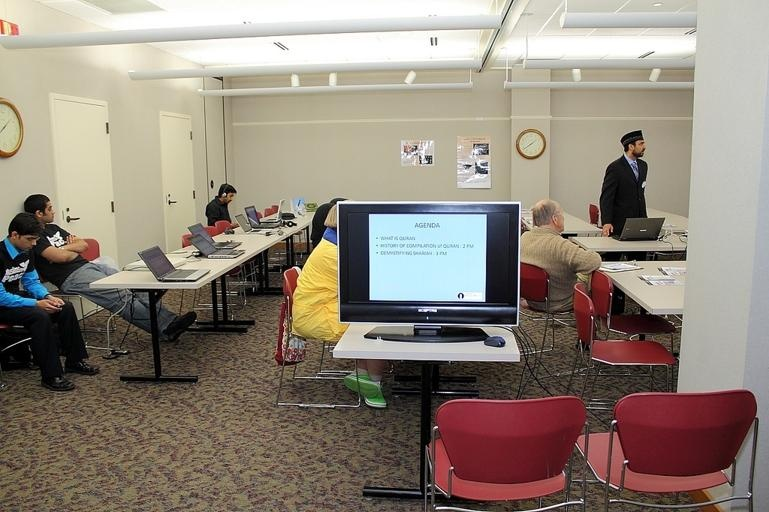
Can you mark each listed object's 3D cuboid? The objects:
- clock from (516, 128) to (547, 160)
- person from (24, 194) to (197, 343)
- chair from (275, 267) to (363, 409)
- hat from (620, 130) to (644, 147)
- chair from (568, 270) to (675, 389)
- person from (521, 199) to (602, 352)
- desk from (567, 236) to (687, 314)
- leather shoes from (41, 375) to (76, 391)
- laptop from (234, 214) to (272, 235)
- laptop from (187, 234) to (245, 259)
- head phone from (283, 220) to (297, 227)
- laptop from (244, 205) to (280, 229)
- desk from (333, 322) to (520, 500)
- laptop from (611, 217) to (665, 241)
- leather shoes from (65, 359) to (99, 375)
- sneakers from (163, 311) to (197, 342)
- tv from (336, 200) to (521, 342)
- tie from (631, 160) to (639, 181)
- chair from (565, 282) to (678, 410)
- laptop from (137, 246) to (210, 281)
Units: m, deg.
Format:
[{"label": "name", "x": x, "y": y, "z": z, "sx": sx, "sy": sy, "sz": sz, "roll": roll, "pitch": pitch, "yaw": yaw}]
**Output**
[{"label": "clock", "x": 3.097, "y": -2.397, "z": 11.163, "sx": 0.685, "sy": 0.631, "sz": 0.107, "roll": 1, "pitch": 4, "yaw": 3}, {"label": "person", "x": -3.177, "y": 0.111, "z": 6.051, "sx": 2.047, "sy": 1.098, "sz": 0.594, "roll": 20, "pitch": 26, "yaw": 1}, {"label": "chair", "x": -0.586, "y": 0.789, "z": 4.561, "sx": 0.524, "sy": 0.692, "sz": 0.902, "roll": 14, "pitch": -2, "yaw": 21}, {"label": "hat", "x": 3.032, "y": -1.422, "z": 6.464, "sx": 0.211, "sy": 0.187, "sz": 0.299, "roll": 7, "pitch": 17, "yaw": 27}, {"label": "chair", "x": 2.068, "y": 0.658, "z": 4.612, "sx": 0.894, "sy": 1.255, "sz": 0.795, "roll": -1, "pitch": 16, "yaw": 7}, {"label": "person", "x": 1.696, "y": -0.049, "z": 5.328, "sx": 0.784, "sy": 1.041, "sz": 0.907, "roll": -5, "pitch": 20, "yaw": -6}, {"label": "desk", "x": 2.286, "y": 0.165, "z": 5.011, "sx": 0.670, "sy": 0.216, "sz": 0.989, "roll": 0, "pitch": 11, "yaw": -1}, {"label": "leather shoes", "x": -3.041, "y": 1.186, "z": 4.969, "sx": 0.316, "sy": 0.124, "sz": 0.129, "roll": 2, "pitch": 4, "yaw": 1}, {"label": "laptop", "x": -2.036, "y": -0.447, "z": 8.028, "sx": 0.433, "sy": 0.207, "sz": 0.449, "roll": 1, "pitch": 12, "yaw": 1}, {"label": "laptop", "x": -1.960, "y": -0.077, "z": 6.133, "sx": 0.384, "sy": 0.158, "sz": 0.428, "roll": 0, "pitch": 12, "yaw": -3}, {"label": "head phone", "x": -1.565, "y": -0.530, "z": 8.686, "sx": 0.164, "sy": 0.058, "sz": 0.117, "roll": 1, "pitch": 2, "yaw": -38}, {"label": "laptop", "x": -2.018, "y": -0.578, "z": 8.593, "sx": 0.494, "sy": 0.343, "sz": 0.620, "roll": -1, "pitch": 11, "yaw": 2}, {"label": "desk", "x": 0.226, "y": 0.957, "z": 3.744, "sx": 1.241, "sy": 1.065, "sz": 1.192, "roll": 0, "pitch": 6, "yaw": 0}, {"label": "laptop", "x": 2.947, "y": -0.307, "z": 6.063, "sx": 0.380, "sy": 0.215, "sz": 0.323, "roll": 1, "pitch": 9, "yaw": 0}, {"label": "leather shoes", "x": -3.030, "y": 1.108, "z": 5.300, "sx": 0.400, "sy": 0.143, "sz": 0.140, "roll": 2, "pitch": 5, "yaw": -4}, {"label": "sneakers", "x": -2.313, "y": 0.802, "z": 5.917, "sx": 0.324, "sy": 0.111, "sz": 0.225, "roll": -39, "pitch": -1, "yaw": -17}, {"label": "tv", "x": 0.278, "y": 0.073, "z": 3.310, "sx": 0.955, "sy": 0.619, "sz": 0.090, "roll": 0, "pitch": 4, "yaw": 3}, {"label": "tie", "x": 3.108, "y": -1.063, "z": 6.575, "sx": 0.123, "sy": 0.224, "sz": 0.054, "roll": -14, "pitch": 7, "yaw": -36}, {"label": "chair", "x": 1.883, "y": 0.697, "z": 4.158, "sx": 0.718, "sy": 0.812, "sz": 0.504, "roll": -1, "pitch": 12, "yaw": 11}, {"label": "laptop", "x": -2.033, "y": 0.055, "z": 5.104, "sx": 0.614, "sy": 0.269, "sz": 0.519, "roll": 1, "pitch": 15, "yaw": 5}]
